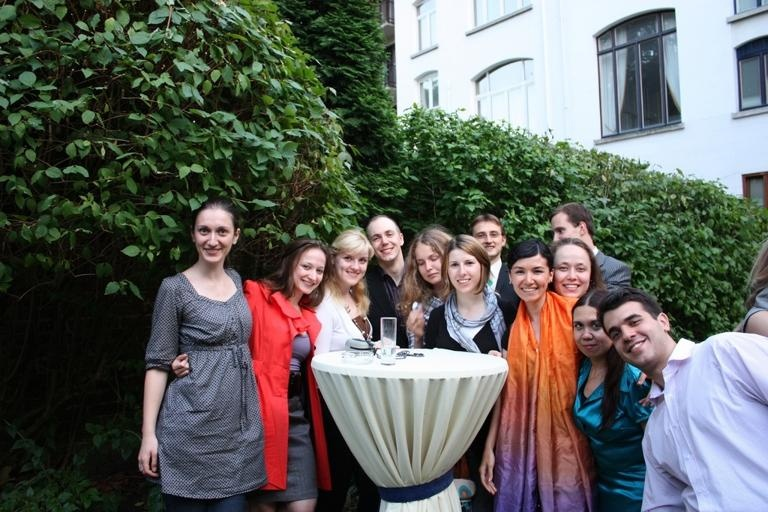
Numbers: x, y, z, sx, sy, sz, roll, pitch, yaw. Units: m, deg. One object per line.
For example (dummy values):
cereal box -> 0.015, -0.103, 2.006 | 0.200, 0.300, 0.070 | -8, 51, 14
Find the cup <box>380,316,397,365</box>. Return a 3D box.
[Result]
cup -> 0.023, 0.544, 3.717 | 0.111, 0.308, 0.114 | 1, -1, 0
